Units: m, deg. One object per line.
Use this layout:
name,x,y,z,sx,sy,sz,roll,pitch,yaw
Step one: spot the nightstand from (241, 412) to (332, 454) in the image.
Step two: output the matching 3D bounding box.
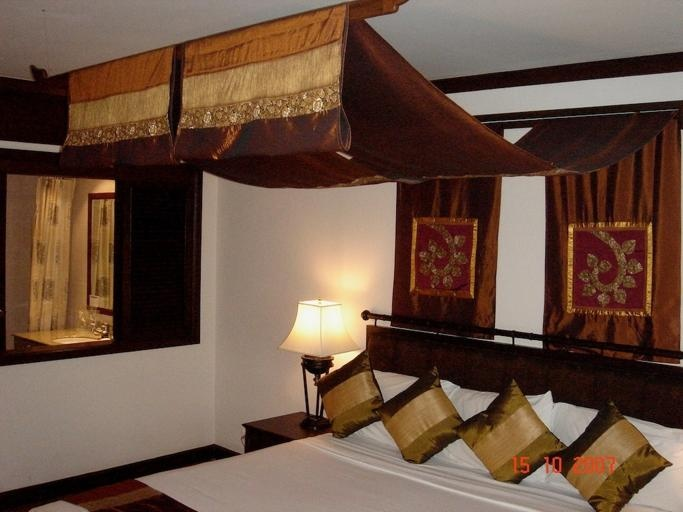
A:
nightstand,-0.458,1.348,4.802,0.401,0.260,0.393,-1,0,-42

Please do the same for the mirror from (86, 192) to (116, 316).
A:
mirror,-2.505,-0.031,6.557,0.490,1.267,0.165,3,6,41

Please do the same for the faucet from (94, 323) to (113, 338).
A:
faucet,-2.412,0.763,6.411,0.193,0.177,0.267,3,-5,-26

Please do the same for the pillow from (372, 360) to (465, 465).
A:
pillow,0.518,1.085,4.128,0.481,0.502,0.148,-35,-43,14

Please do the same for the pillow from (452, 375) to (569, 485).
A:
pillow,0.980,1.027,3.699,0.514,0.541,0.156,-39,-39,13
